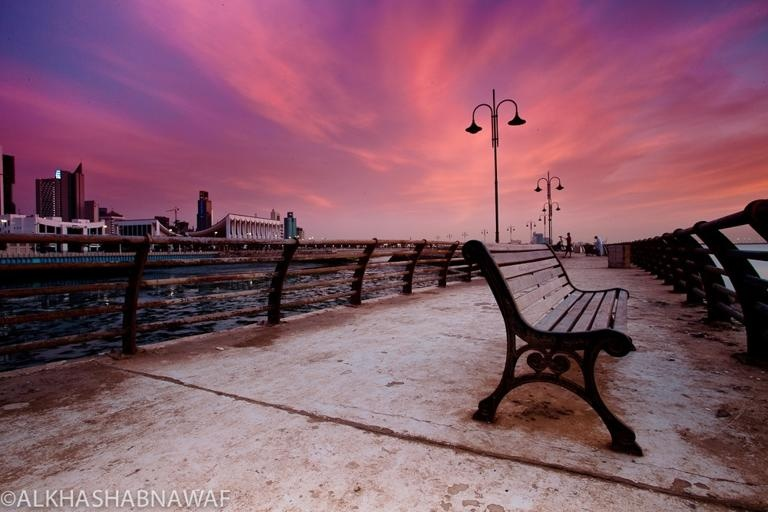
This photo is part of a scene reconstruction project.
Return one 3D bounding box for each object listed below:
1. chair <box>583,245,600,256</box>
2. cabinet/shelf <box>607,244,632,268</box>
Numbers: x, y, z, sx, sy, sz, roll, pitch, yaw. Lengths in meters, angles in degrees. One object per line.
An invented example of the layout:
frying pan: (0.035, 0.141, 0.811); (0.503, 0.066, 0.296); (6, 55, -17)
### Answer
chair: (16.266, -0.365, 35.146); (0.944, 0.727, 1.253); (1, 4, 9)
cabinet/shelf: (8.246, 0.014, 15.743); (0.626, 0.765, 0.804); (3, -9, -30)
